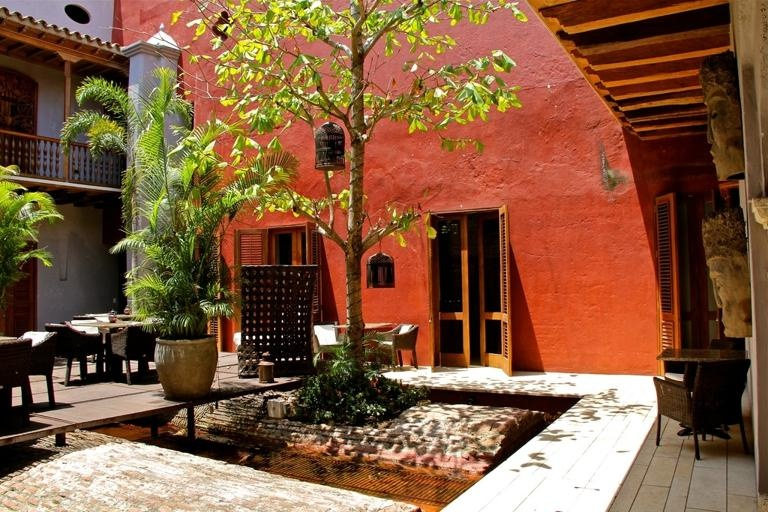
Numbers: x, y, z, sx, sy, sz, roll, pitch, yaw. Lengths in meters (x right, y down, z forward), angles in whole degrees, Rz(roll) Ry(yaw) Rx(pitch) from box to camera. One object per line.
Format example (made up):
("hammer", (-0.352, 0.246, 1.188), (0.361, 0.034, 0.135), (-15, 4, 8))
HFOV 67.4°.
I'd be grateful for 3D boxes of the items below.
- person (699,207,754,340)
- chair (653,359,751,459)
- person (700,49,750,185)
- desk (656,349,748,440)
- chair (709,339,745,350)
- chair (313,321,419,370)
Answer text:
("person", (2.946, 0.153, 4.959), (0.316, 1.053, 0.438), (-6, -11, 31))
("chair", (3.301, 1.580, 5.999), (0.883, 0.990, 0.725), (-3, -10, 13))
("person", (2.820, -1.184, 4.817), (0.265, 1.057, 0.136), (-6, -11, 31))
("desk", (3.310, 1.522, 6.094), (0.883, 0.912, 0.859), (-3, -4, 35))
("chair", (4.209, 1.085, 7.093), (0.232, 0.175, 0.225), (5, -5, -44))
("chair", (-0.357, 1.499, 10.053), (1.598, 0.737, 0.957), (-2, -4, 22))
